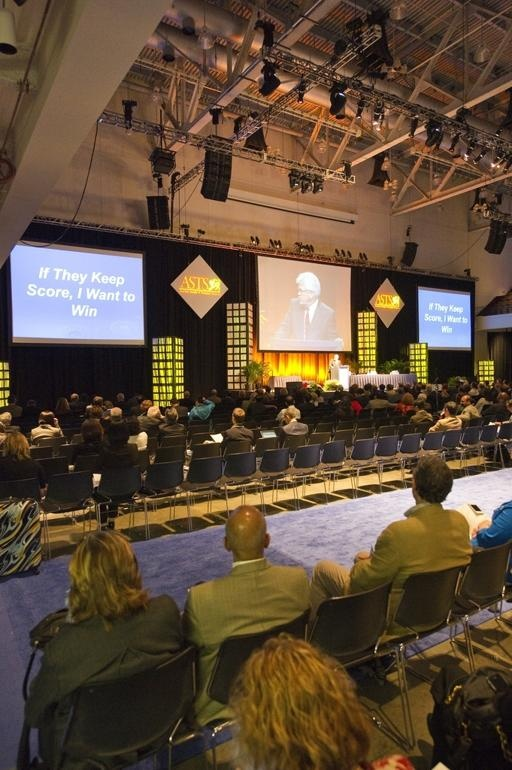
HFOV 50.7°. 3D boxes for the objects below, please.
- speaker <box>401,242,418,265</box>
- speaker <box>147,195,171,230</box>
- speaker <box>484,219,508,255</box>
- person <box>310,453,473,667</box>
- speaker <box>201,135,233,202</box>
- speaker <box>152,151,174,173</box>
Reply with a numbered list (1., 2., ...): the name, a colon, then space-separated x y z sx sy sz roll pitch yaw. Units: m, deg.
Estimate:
1. speaker: 6.273 -5.341 22.412 0.606 1.045 0.490 -1 1 8
2. speaker: -2.589 -4.588 14.431 0.516 0.718 0.451 -1 1 0
3. speaker: 7.916 -4.883 17.860 0.623 1.055 0.610 -1 1 25
4. person: 0.712 0.768 2.705 0.658 0.773 0.667 -2 1 -21
5. speaker: -0.800 -4.462 11.204 0.649 0.992 0.645 26 47 10
6. speaker: -1.960 -4.760 11.669 0.417 0.405 0.523 -2 5 -32
